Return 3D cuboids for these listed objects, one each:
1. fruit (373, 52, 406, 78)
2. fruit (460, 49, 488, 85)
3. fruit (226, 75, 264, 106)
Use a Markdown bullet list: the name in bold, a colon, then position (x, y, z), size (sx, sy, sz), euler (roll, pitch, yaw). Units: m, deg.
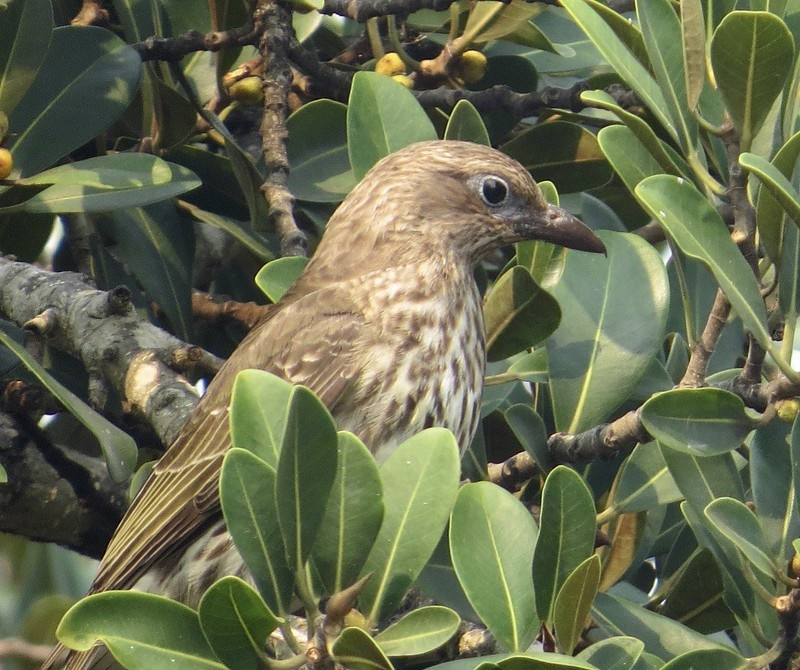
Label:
- **fruit**: position (-0.034, -0.914, 6.273), size (0.099, 0.072, 0.123), euler (-3, 16, -4)
- **fruit**: position (0.244, -0.909, 6.264), size (0.106, 0.123, 0.043), euler (-1, 6, 5)
- **fruit**: position (-0.518, -0.805, 6.195), size (0.108, 0.085, 0.090), euler (-4, 65, 6)
